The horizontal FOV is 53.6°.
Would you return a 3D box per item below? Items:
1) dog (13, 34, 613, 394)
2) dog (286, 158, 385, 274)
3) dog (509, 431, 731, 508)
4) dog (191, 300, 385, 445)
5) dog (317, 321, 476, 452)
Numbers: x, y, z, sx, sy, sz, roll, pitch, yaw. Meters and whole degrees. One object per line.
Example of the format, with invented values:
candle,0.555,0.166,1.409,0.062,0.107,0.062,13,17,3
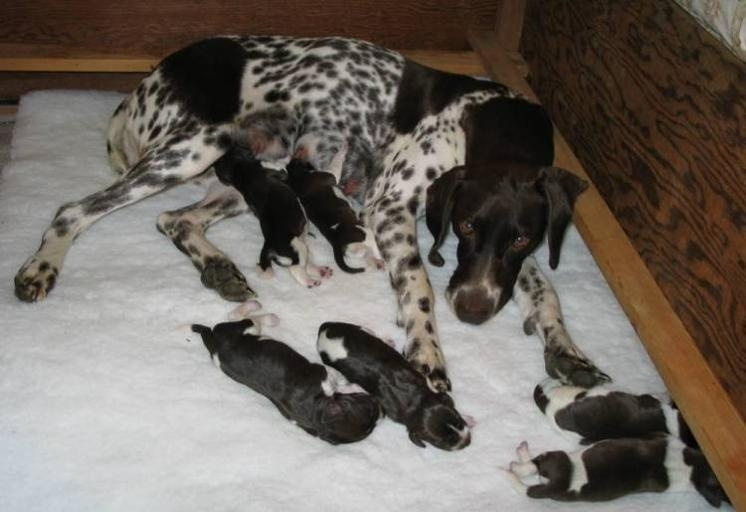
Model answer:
dog,-0.323,-0.397,4.962,3.549,1.803,1.807,20,27,18
dog,-0.240,-0.236,4.637,0.334,0.204,0.661,-9,67,-54
dog,1.276,1.102,3.762,0.560,0.166,0.303,-4,33,-4
dog,-0.488,0.617,4.048,1.097,0.484,0.450,30,15,0
dog,0.108,0.722,3.948,0.627,0.216,0.332,33,24,13
